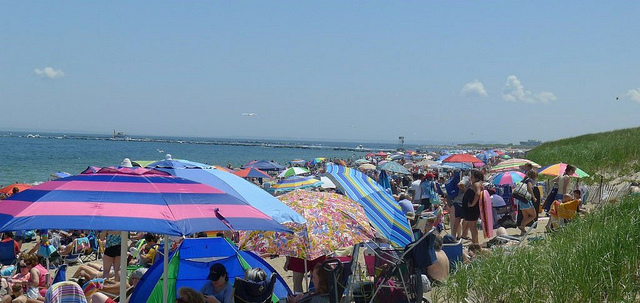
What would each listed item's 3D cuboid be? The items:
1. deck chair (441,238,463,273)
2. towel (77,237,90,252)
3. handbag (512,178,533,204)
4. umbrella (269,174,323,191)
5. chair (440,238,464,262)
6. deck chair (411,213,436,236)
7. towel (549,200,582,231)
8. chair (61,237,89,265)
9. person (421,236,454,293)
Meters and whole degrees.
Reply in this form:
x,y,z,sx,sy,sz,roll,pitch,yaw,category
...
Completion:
x,y,z,sx,sy,sz,roll,pitch,yaw,category
4.277,3.308,18.709,0.908,1.011,1.514,-1,-2,15,deck chair
-8.906,3.429,21.361,0.424,0.331,0.408,3,-8,-39,towel
7.696,1.496,21.271,0.786,1.030,0.531,21,-38,21,handbag
-0.822,1.279,23.826,1.201,0.343,1.202,-8,-2,43,umbrella
4.478,3.239,18.812,0.800,0.423,0.733,1,-3,-18,chair
3.459,2.219,17.772,0.657,0.723,0.608,27,-5,-8,deck chair
9.173,2.207,21.021,0.892,1.337,0.779,1,1,1,towel
-9.139,3.726,21.322,0.903,1.058,1.112,6,-6,-43,chair
3.814,3.540,18.163,0.687,1.674,1.380,-2,-4,45,person
